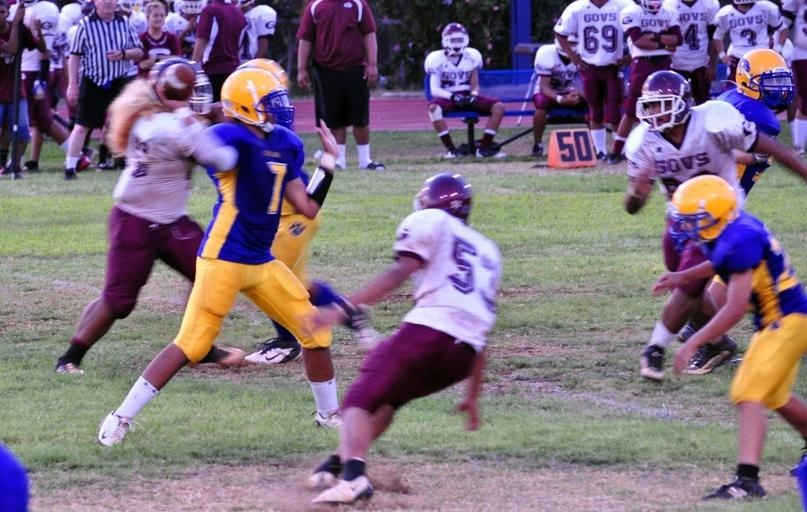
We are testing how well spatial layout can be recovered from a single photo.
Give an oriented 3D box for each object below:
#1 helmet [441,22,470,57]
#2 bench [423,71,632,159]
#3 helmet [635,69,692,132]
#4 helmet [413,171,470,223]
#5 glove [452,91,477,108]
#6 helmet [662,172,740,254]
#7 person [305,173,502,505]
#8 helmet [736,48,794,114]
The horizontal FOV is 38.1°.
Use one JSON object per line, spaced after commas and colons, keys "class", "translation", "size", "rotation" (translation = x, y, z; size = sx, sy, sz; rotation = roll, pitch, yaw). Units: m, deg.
{"class": "helmet", "translation": [0.747, -3.126, 17.081], "size": [0.472, 0.482, 0.546], "rotation": [-3, 12, -3]}
{"class": "bench", "translation": [1.575, -2.349, 19.052], "size": [3.085, 1.103, 0.880], "rotation": [-5, -13, -30]}
{"class": "helmet", "translation": [2.023, -1.206, 8.849], "size": [0.371, 0.398, 0.350], "rotation": [16, -9, 5]}
{"class": "helmet", "translation": [0.285, -0.377, 7.721], "size": [0.382, 0.289, 0.275], "rotation": [14, -20, 2]}
{"class": "glove", "translation": [0.898, -2.270, 17.183], "size": [0.386, 0.262, 0.237], "rotation": [2, 8, -4]}
{"class": "helmet", "translation": [2.050, -0.269, 7.903], "size": [0.501, 0.372, 0.377], "rotation": [2, 0, 7]}
{"class": "person", "translation": [0.056, 0.516, 7.485], "size": [1.204, 2.006, 0.427], "rotation": [0, 8, -21]}
{"class": "helmet", "translation": [3.002, -1.479, 9.690], "size": [0.441, 0.392, 0.498], "rotation": [-6, 15, -15]}
